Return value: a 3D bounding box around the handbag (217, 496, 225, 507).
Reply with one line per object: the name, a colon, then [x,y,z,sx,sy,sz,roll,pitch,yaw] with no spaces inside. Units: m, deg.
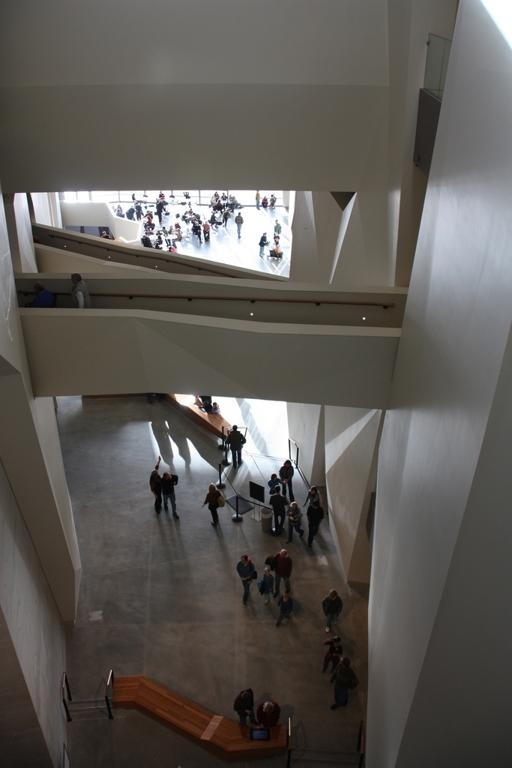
handbag: [-0.691,2.276,10.209,0.132,0.205,0.243,0,66,15]
